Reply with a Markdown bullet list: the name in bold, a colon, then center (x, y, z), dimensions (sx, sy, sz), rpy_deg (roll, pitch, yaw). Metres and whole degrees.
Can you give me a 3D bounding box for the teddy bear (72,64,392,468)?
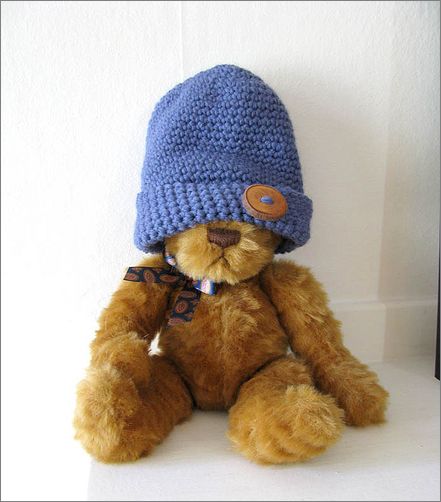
- **teddy bear**: center (0.043, -0.011, 1.071), dimensions (0.562, 0.662, 0.500), rpy_deg (1, 19, 2)
